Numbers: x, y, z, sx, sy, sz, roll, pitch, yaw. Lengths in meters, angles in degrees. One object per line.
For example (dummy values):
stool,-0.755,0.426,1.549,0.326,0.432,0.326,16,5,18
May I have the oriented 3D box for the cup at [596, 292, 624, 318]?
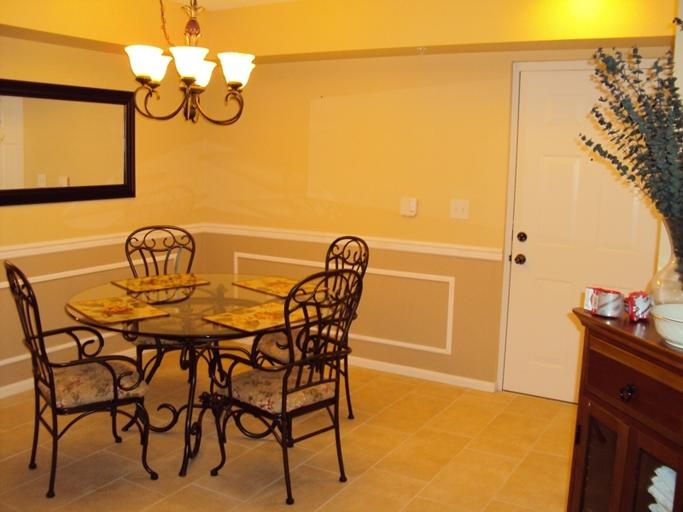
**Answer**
cup,1.139,0.210,2.297,0.104,0.099,0.098,2,5,0
